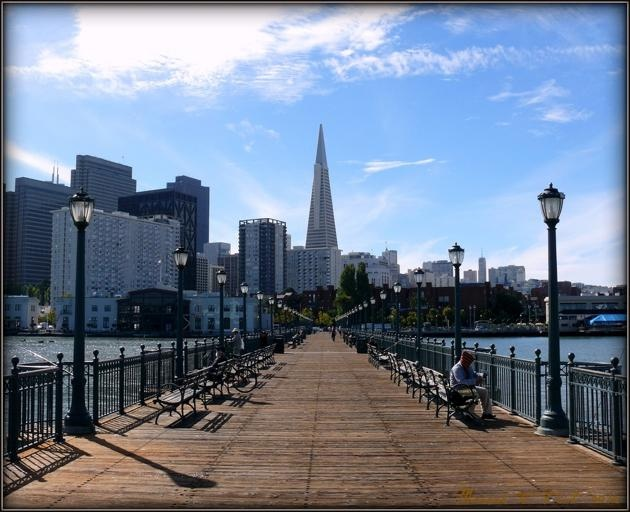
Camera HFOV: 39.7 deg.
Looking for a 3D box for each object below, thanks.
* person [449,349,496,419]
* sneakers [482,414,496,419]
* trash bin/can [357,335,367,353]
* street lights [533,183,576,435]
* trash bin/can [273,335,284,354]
[{"bbox_3d":[3.410,2.792,19.029,0.921,1.466,0.594,3,-3,-29],"label":"person"},{"bbox_3d":[3.790,3.500,19.087,0.290,0.128,0.100,-2,-1,-6],"label":"sneakers"},{"bbox_3d":[2.388,4.652,45.381,0.649,0.979,0.667,0,1,3],"label":"trash bin/can"},{"bbox_3d":[4.779,1.019,17.438,0.593,5.062,0.944,1,-2,8],"label":"street lights"},{"bbox_3d":[-1.899,4.567,45.453,0.698,1.288,0.766,-2,3,0],"label":"trash bin/can"}]
